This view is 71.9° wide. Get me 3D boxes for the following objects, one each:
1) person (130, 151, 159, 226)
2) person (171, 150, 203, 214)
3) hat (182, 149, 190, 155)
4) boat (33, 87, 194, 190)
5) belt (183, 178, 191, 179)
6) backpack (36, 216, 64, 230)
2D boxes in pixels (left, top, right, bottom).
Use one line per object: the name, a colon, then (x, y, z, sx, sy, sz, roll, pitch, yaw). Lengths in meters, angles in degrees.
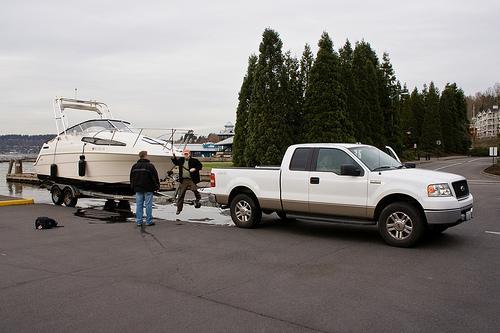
person: (-3.434, 0.832, 11.277, 0.900, 2.153, 0.532, -1, 3, -13)
person: (-2.301, 0.622, 12.659, 0.984, 2.446, 1.233, -2, 3, -13)
hat: (-2.274, -0.514, 12.422, 0.198, 0.140, 0.274, -5, -21, -6)
boat: (-6.596, -0.537, 15.564, 6.549, 3.216, 1.949, 1, 4, 23)
belt: (-2.224, 0.413, 12.238, 0.268, 0.055, 0.032, 0, 3, 7)
backpack: (-6.340, 1.761, 10.780, 0.555, 0.218, 0.392, 2, -3, -24)
